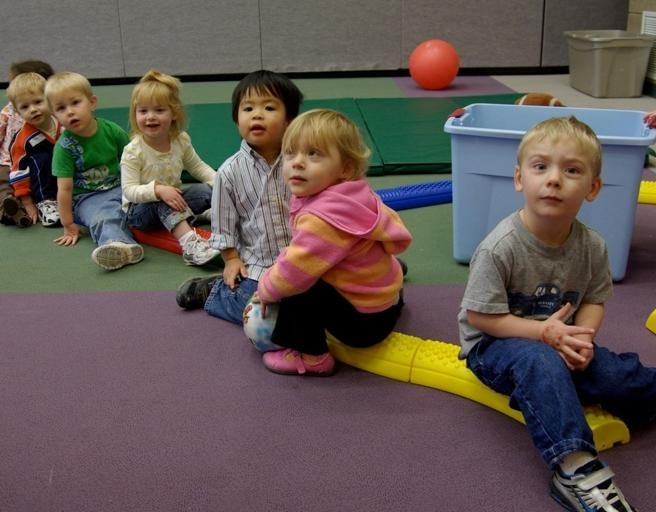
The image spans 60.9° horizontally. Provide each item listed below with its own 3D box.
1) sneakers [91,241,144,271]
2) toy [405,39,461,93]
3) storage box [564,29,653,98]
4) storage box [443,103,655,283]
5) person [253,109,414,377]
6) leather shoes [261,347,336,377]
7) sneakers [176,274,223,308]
[{"bbox_3d":[-0.874,0.000,2.375,0.100,0.095,0.228,4,-2,42],"label":"sneakers"},{"bbox_3d":[0.991,-1.740,5.323,0.491,0.565,0.495,2,-5,7],"label":"toy"},{"bbox_3d":[2.369,-1.681,4.883,0.556,0.443,0.692,-4,19,-8],"label":"storage box"},{"bbox_3d":[0.752,-0.302,2.302,0.876,0.616,0.605,3,18,10],"label":"storage box"},{"bbox_3d":[0.014,-0.024,1.637,0.494,0.782,0.246,-6,21,-9],"label":"person"},{"bbox_3d":[-0.095,0.331,1.705,0.197,0.079,0.085,4,11,7],"label":"leather shoes"},{"bbox_3d":[-0.485,0.132,2.030,0.208,0.082,0.087,-24,26,-30],"label":"sneakers"}]
